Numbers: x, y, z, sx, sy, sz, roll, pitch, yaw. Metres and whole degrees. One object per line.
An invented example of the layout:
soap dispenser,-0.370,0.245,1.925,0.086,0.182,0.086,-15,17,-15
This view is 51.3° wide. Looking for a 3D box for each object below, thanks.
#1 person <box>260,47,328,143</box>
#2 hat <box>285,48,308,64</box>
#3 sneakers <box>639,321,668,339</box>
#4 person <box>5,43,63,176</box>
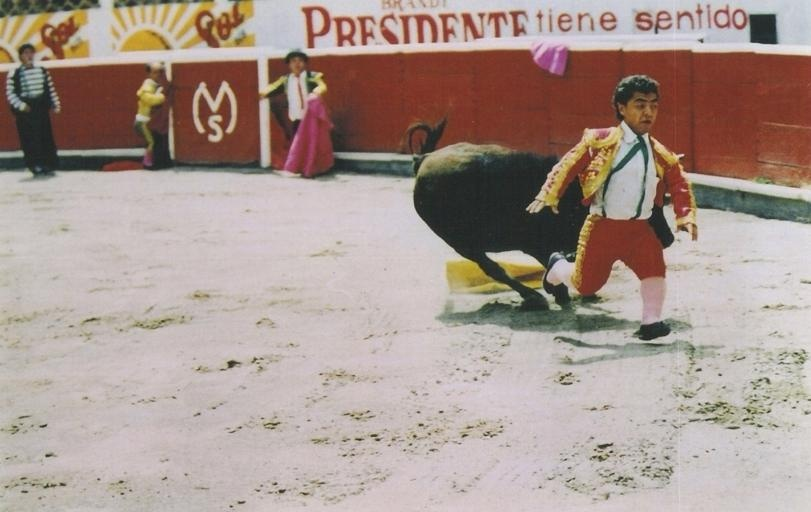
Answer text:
person,-0.885,-1.326,6.759,0.703,0.852,0.344,-3,34,-3
hat,-0.850,-1.565,6.587,0.172,0.119,0.188,-3,13,-8
sneakers,1.182,0.357,4.037,0.120,0.075,0.040,-22,24,-3
person,-2.505,-0.981,5.712,0.312,0.910,0.414,-7,14,-23
